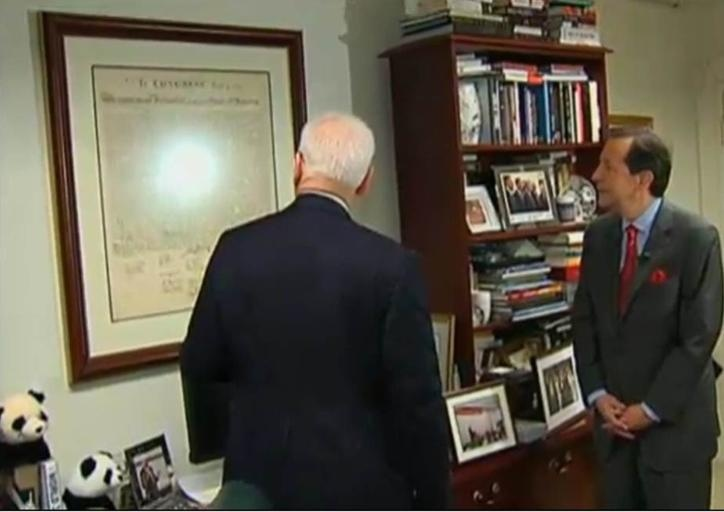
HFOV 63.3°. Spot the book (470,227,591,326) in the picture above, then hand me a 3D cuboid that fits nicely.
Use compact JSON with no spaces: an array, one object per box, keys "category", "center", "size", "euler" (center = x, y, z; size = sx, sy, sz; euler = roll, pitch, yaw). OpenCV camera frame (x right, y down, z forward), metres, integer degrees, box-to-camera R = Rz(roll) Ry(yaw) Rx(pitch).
[{"category":"book","center":[0.691,0.091,2.442],"size":[0.403,0.104,0.419],"euler":[-4,40,-4]}]

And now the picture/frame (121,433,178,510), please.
[{"category":"picture/frame","center":[-0.662,0.668,1.806],"size":[0.021,0.233,0.168],"euler":[-16,-3,40]}]

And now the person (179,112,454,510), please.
[{"category":"person","center":[-0.132,0.159,1.462],"size":[0.659,1.006,0.183],"euler":[-2,5,8]}]

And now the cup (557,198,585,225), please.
[{"category":"cup","center":[0.897,-0.198,2.535],"size":[0.073,0.067,0.135],"euler":[3,1,27]}]

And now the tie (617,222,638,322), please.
[{"category":"tie","center":[0.821,0.045,1.805],"size":[0.037,0.292,0.030],"euler":[5,-11,9]}]

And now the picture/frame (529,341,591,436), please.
[{"category":"picture/frame","center":[0.746,0.509,2.215],"size":[0.324,0.403,0.029],"euler":[-17,8,-43]}]
